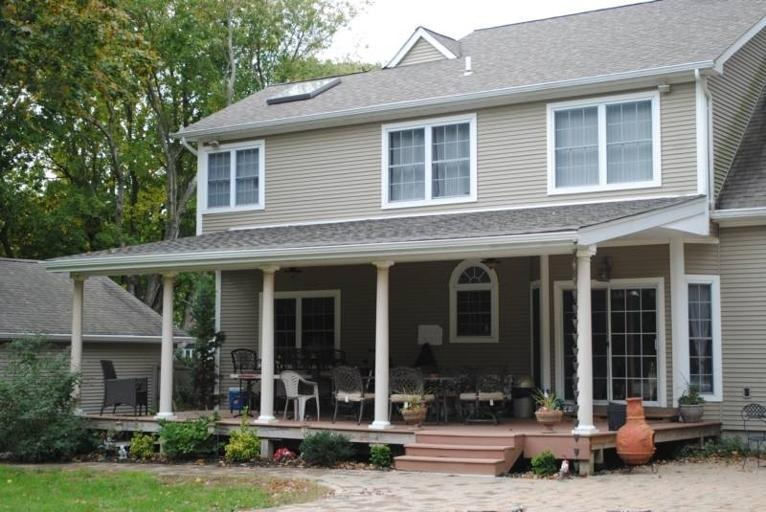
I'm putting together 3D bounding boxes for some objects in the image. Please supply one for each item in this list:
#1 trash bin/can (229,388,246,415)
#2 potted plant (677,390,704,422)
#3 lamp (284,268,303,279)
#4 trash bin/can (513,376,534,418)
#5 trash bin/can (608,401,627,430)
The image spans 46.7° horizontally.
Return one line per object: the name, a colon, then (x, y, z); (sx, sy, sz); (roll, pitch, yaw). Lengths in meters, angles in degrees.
trash bin/can: (-4.190, 4.191, 25.529); (0.575, 0.779, 0.717); (9, -13, -39)
potted plant: (7.731, 3.687, 22.120); (0.530, 0.598, 0.499); (-3, -9, -36)
lamp: (-2.712, 0.492, 26.697); (0.459, 0.297, 0.484); (8, -15, -31)
trash bin/can: (3.628, 3.667, 23.559); (0.766, 1.173, 0.754); (1, -5, 5)
trash bin/can: (5.381, 3.711, 20.544); (0.541, 0.704, 0.529); (4, -7, -5)
